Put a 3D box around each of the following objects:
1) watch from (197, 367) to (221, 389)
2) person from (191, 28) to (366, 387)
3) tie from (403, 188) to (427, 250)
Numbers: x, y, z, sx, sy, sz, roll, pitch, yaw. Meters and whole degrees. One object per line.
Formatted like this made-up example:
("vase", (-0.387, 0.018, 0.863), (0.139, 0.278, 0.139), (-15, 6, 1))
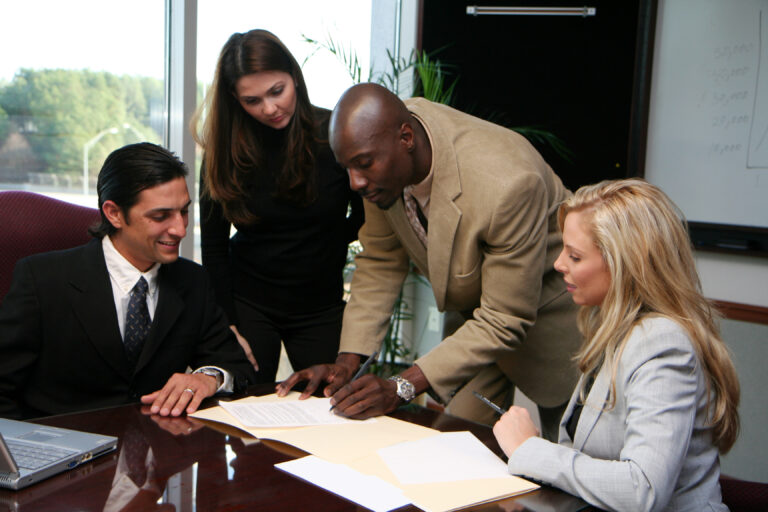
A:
("watch", (-0.582, 0.401, 2.028), (0.051, 0.029, 0.067), (6, -18, -4))
("person", (-0.438, 0.124, 2.819), (0.725, 2.210, 0.689), (-4, 31, -8))
("tie", (0.111, -0.141, 2.240), (0.041, 0.170, 0.120), (-28, -1, -1))
